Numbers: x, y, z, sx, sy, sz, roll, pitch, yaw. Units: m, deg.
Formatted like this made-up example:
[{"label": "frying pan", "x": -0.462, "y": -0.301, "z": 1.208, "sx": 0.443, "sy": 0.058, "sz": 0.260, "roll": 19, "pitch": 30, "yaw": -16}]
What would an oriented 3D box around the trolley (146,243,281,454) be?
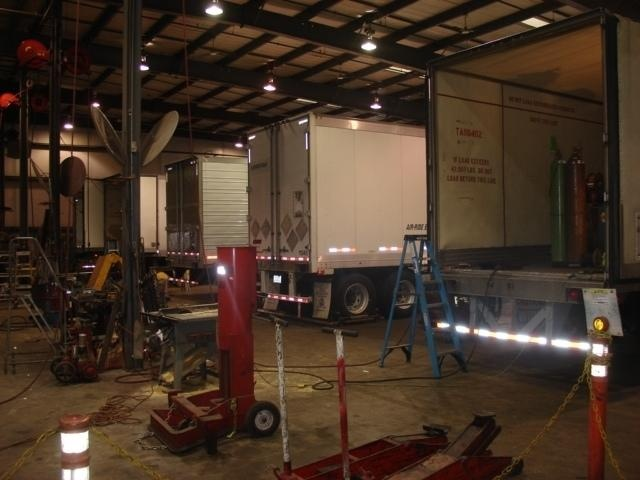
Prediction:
[{"label": "trolley", "x": -1.175, "y": 1.218, "z": 6.771, "sx": 1.368, "sy": 1.873, "sz": 0.841, "roll": -2, "pitch": 1, "yaw": -6}]
